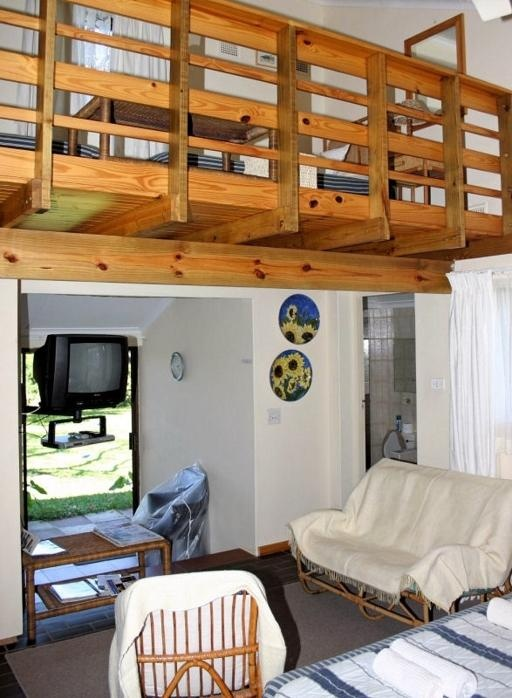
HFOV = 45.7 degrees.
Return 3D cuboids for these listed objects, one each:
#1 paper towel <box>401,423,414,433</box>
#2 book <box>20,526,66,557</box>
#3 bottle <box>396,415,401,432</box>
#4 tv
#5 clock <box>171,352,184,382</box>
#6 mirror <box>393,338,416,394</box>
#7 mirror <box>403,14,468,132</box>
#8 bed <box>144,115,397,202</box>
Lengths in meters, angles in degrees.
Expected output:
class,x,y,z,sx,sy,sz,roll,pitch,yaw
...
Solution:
class,x,y,z,sx,sy,sz,roll,pitch,yaw
paper towel,1.731,0.891,6.907,0.100,0.094,0.101,0,-1,8
book,-1.281,1.155,3.665,0.240,0.111,0.323,3,-5,-32
bottle,1.659,0.855,7.047,0.063,0.175,0.117,-1,-4,13
tv,-1.244,0.233,4.988,0.708,0.561,0.387,0,-9,9
clock,-0.793,0.181,6.224,0.033,0.311,0.322,-1,1,-32
mirror,1.724,0.172,7.115,0.361,0.594,0.071,1,-3,-31
mirror,1.323,-2.086,4.351,0.212,0.577,0.647,2,-4,-18
bed,0.203,-1.007,3.350,0.966,0.419,0.905,-1,12,-25
